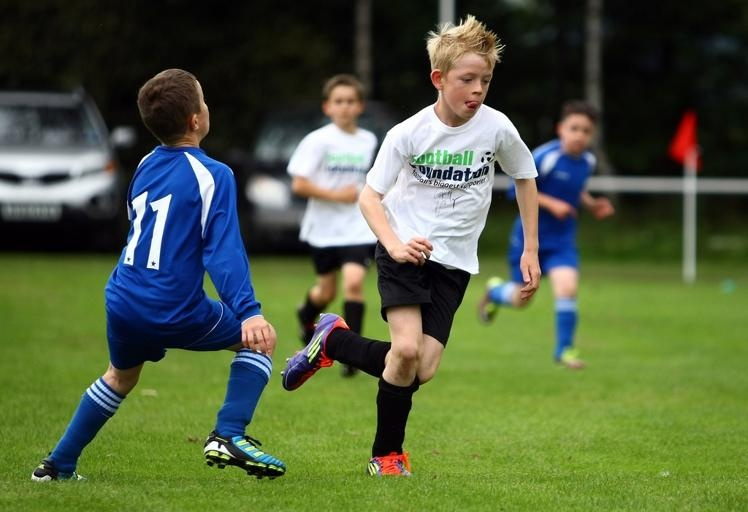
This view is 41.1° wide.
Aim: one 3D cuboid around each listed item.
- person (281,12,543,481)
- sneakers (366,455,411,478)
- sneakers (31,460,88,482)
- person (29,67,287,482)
[{"bbox_3d":[0.183,-0.027,6.045,1.523,2.975,1.167,4,3,11],"label":"person"},{"bbox_3d":[0.091,1.244,5.874,0.217,0.101,0.123,-13,-14,41],"label":"sneakers"},{"bbox_3d":[-1.838,1.263,5.784,0.314,0.149,0.126,3,0,-20],"label":"sneakers"},{"bbox_3d":[-1.128,0.149,5.764,1.314,2.412,0.445,4,7,5],"label":"person"}]
